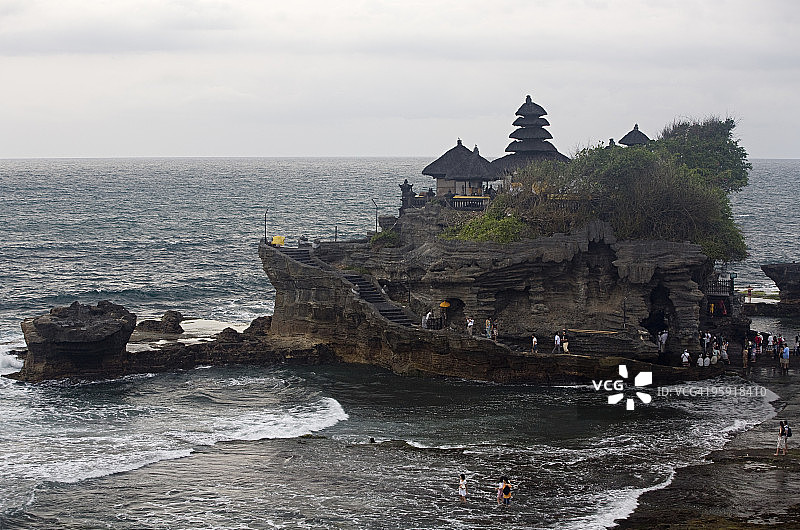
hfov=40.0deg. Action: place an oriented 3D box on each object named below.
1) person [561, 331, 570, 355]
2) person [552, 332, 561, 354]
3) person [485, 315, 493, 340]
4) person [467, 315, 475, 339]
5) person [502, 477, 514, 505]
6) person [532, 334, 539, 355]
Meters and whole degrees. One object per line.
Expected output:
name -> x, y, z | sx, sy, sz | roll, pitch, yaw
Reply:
person -> 9.419, 4.445, 62.919 | 0.419, 0.998, 1.268 | 2, 1, 8
person -> 8.963, 4.469, 63.140 | 0.482, 0.904, 1.026 | 1, 1, 9
person -> 5.016, 3.653, 63.410 | 0.459, 0.958, 0.915 | 1, 1, 2
person -> 4.024, 3.500, 63.466 | 0.460, 0.889, 0.807 | 1, 1, 2
person -> 4.821, 10.177, 49.638 | 0.419, 0.952, 0.854 | 2, 1, 19
person -> 7.632, 4.533, 63.152 | 0.372, 1.001, 0.357 | 6, -1, 11
